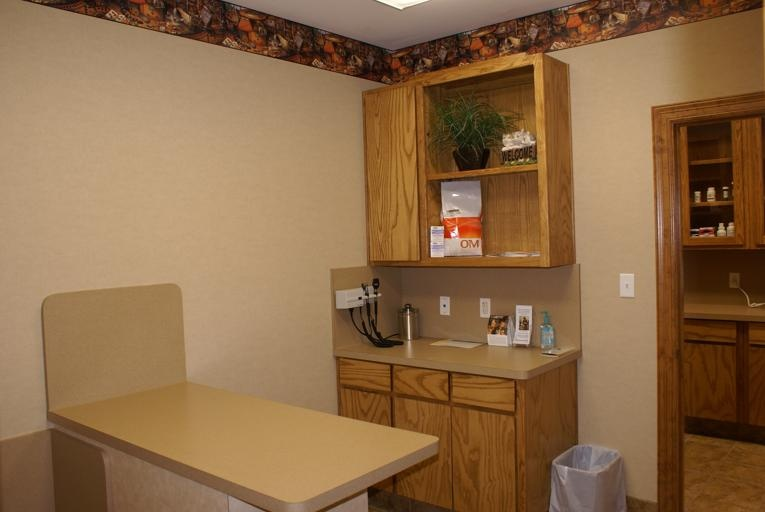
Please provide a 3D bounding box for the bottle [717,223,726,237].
[{"bbox_3d":[3.118,-0.240,5.248,0.081,0.110,0.165,6,11,29],"label":"bottle"}]

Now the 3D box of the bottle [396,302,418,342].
[{"bbox_3d":[0.205,0.507,4.436,0.174,0.294,0.183,-3,4,0],"label":"bottle"}]

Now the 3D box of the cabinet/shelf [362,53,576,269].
[{"bbox_3d":[0.647,-0.642,3.982,1.572,1.474,0.462,-1,-1,34],"label":"cabinet/shelf"}]

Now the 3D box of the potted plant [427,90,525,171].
[{"bbox_3d":[0.610,-0.893,3.998,0.607,0.448,0.601,1,-4,-3],"label":"potted plant"}]

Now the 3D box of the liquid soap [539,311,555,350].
[{"bbox_3d":[1.126,0.514,3.886,0.106,0.243,0.197,3,10,16],"label":"liquid soap"}]
